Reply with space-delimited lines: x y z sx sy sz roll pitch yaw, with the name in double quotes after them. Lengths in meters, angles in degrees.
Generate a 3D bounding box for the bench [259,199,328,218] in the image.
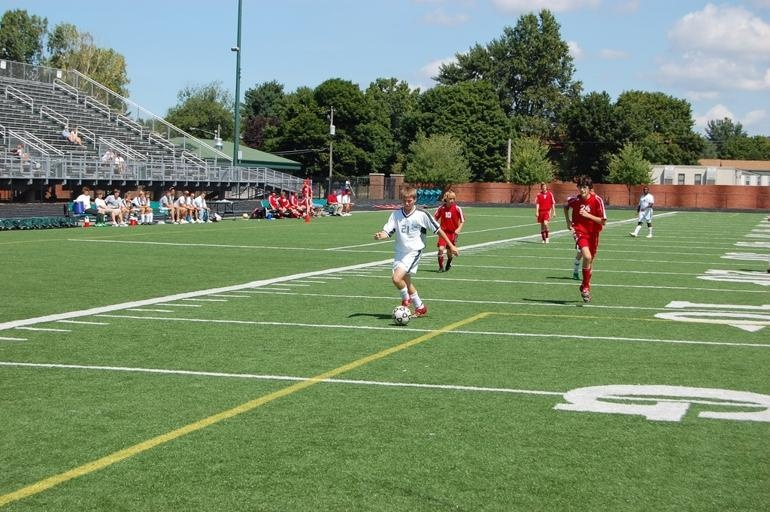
-5.297 -2.758 41.034 1.736 1.128 4.570 4 5 39 "bench"

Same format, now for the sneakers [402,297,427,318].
0.335 0.788 11.271 0.585 0.177 0.257 11 -19 21 "sneakers"

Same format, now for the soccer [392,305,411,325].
0.235 0.867 10.640 0.270 0.257 0.281 5 2 37 "soccer"

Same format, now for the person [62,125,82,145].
-20.472 -7.857 46.859 1.214 1.210 1.722 -2 5 -23 "person"

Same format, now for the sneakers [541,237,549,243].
5.966 -0.553 26.408 0.168 0.186 0.473 -3 -5 18 "sneakers"

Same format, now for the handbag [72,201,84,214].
-13.157 -2.048 30.660 0.543 0.512 0.517 2 -5 -26 "handbag"
